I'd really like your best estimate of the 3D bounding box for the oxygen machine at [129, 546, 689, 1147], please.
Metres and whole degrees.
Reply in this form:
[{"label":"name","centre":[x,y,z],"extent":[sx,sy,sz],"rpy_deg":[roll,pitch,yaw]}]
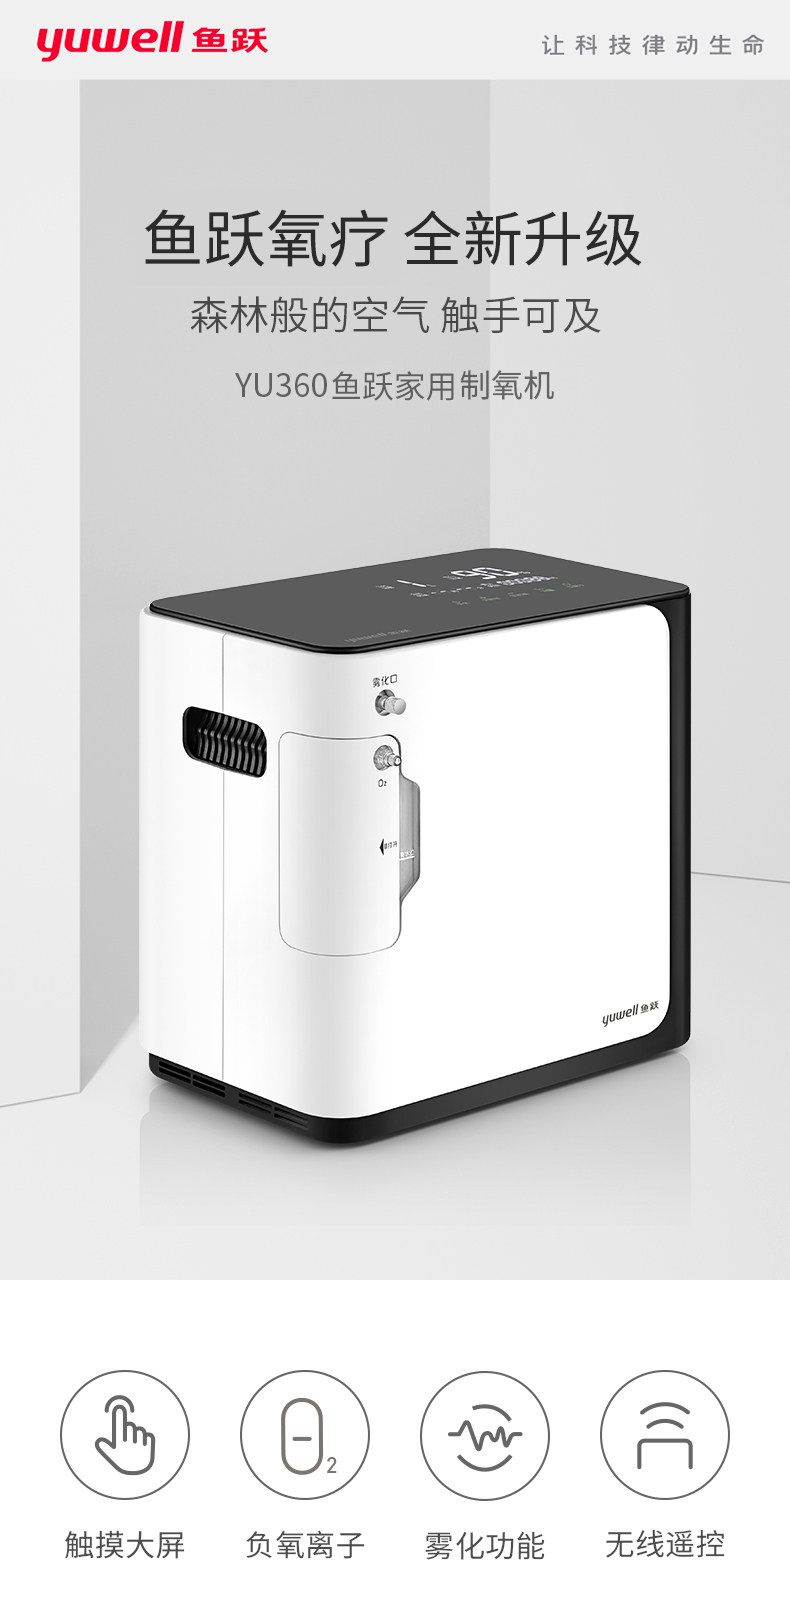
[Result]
[{"label":"oxygen machine","centre":[-0.011,0.017,0.844],"extent":[0.263,0.277,0.186],"rpy_deg":[-12,17,-43]}]
